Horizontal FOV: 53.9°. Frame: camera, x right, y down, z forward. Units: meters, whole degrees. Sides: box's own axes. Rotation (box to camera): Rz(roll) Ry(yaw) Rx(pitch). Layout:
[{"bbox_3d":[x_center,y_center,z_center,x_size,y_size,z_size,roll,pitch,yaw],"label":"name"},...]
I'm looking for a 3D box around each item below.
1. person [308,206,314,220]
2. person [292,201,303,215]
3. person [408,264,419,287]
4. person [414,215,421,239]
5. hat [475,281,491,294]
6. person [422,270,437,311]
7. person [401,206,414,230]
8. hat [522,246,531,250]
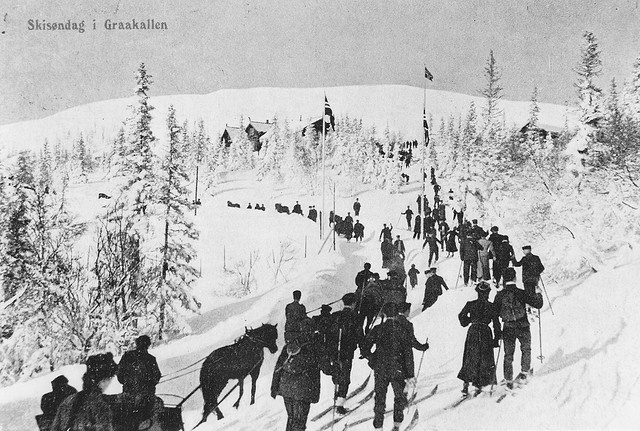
[{"bbox_3d":[-0.698,-0.173,51.771,0.591,1.015,1.946,0,7,-4],"label":"person"},{"bbox_3d":[-1.931,-0.615,54.851,0.785,1.202,0.285,4,29,5],"label":"person"},{"bbox_3d":[5.566,3.574,37.797,0.588,1.522,1.181,1,6,7],"label":"person"},{"bbox_3d":[6.888,0.820,44.447,0.549,1.711,1.196,1,6,9],"label":"person"},{"bbox_3d":[6.801,3.020,26.377,0.547,0.532,0.557,4,7,30],"label":"hat"},{"bbox_3d":[5.750,3.861,33.001,0.774,2.176,0.884,1,6,6],"label":"person"},{"bbox_3d":[7.097,0.278,51.425,1.202,0.907,2.764,-5,47,9],"label":"person"},{"bbox_3d":[9.765,1.515,29.837,0.310,0.149,0.330,-1,-1,-9],"label":"hat"}]
